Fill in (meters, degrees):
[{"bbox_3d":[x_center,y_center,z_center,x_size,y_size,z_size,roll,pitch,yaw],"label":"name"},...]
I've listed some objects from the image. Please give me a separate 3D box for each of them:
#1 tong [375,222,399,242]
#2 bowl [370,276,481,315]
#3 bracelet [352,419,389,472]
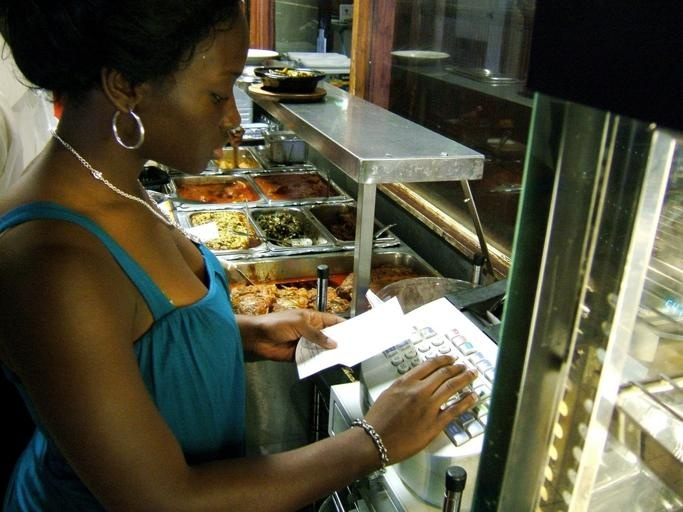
[{"bbox_3d":[0.217,-0.118,2.453,0.049,0.046,0.183,21,16,20],"label":"tong"},{"bbox_3d":[0.246,0.105,1.623,0.241,0.067,0.237,2,2,0],"label":"bowl"},{"bbox_3d":[0.064,0.374,1.009,0.024,0.070,0.086,-14,62,-48],"label":"bracelet"}]
